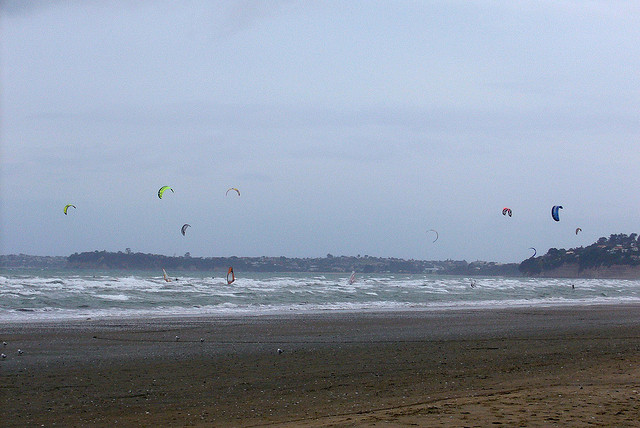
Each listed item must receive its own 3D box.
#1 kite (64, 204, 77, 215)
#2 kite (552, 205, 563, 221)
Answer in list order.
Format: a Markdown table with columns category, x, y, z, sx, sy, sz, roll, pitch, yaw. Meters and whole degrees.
| category | x | y | z | sx | sy | sz | roll | pitch | yaw |
| --- | --- | --- | --- | --- | --- | --- | --- | --- | --- |
| kite | -7.258 | -0.155 | 22.267 | 0.401 | 0.405 | 0.135 | -2 | 5 | -11 |
| kite | 8.597 | -0.049 | 28.284 | 0.324 | 0.556 | 0.727 | 7 | -29 | 31 |
